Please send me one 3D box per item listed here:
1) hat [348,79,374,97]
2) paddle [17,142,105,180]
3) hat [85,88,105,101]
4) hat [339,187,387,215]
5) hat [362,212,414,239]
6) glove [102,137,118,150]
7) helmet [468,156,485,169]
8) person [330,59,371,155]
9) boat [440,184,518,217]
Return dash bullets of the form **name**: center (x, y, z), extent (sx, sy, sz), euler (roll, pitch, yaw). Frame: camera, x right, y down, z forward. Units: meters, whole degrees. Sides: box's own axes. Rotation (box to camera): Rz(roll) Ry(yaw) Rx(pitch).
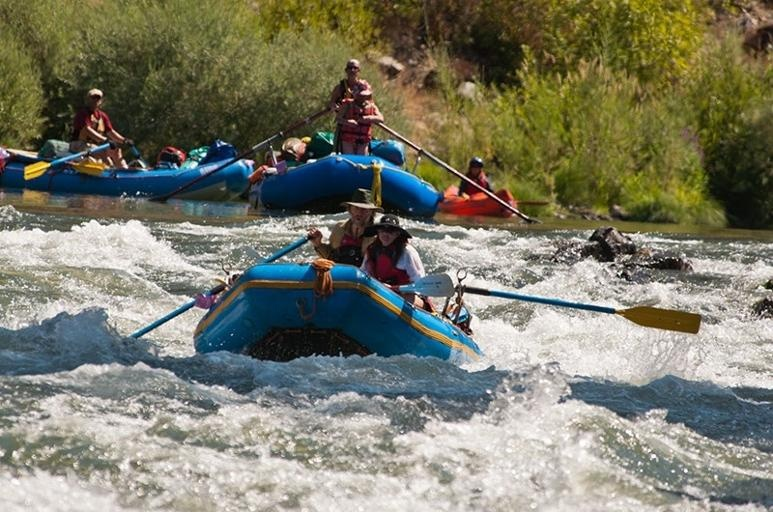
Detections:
- **hat**: center (-0.550, -3.334, 21.511), extent (0.488, 0.373, 0.282), euler (7, 9, -9)
- **paddle**: center (-7.087, -2.028, 23.454), extent (2.437, 0.289, 0.206), euler (-19, -16, -17)
- **hat**: center (-6.122, -3.375, 22.498), extent (0.246, 0.170, 0.395), euler (5, 9, -23)
- **hat**: center (-0.329, -0.807, 15.497), extent (0.511, 0.307, 0.687), euler (8, 8, -1)
- **hat**: center (-0.024, -0.392, 15.095), extent (0.712, 0.397, 0.363), euler (16, 12, 43)
- **glove**: center (-5.955, -2.405, 23.034), extent (0.274, 0.238, 0.799), euler (6, 9, -15)
- **helmet**: center (2.000, -2.084, 23.758), extent (0.283, 0.320, 0.387), euler (12, -25, 16)
- **person**: center (-0.802, -2.987, 21.692), extent (0.667, 1.890, 1.424), euler (7, 9, -2)
- **boat**: center (1.911, -1.194, 23.748), extent (1.489, 0.562, 0.733), euler (-5, -5, 38)
